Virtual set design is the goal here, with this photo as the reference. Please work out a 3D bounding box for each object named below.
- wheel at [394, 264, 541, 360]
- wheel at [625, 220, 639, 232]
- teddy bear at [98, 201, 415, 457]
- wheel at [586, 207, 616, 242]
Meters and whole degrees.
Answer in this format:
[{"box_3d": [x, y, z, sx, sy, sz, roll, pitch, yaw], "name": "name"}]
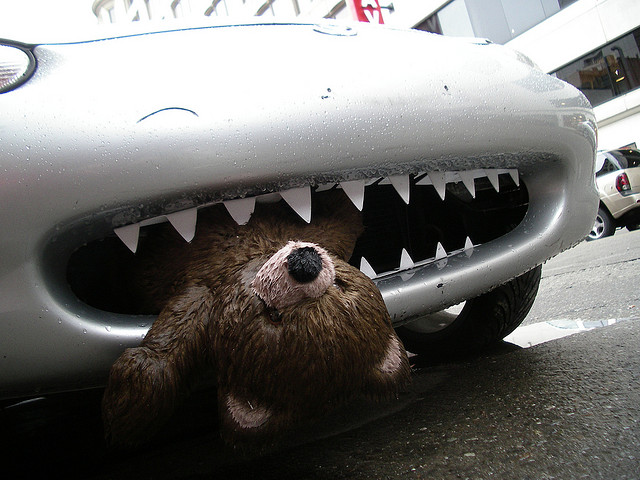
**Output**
[{"box_3d": [0.612, 0.306, 2.128, 0.426, 0.506, 0.460, -6, 4, 0], "name": "wheel"}, {"box_3d": [4.448, -0.207, 7.088, 0.135, 0.204, 0.153, 0, 7, -25], "name": "wheel"}, {"box_3d": [-0.111, 0.087, 1.421, 0.592, 0.438, 1.077, 3, 27, 1], "name": "teddy bear"}, {"box_3d": [3.936, -0.192, 7.180, 0.401, 0.476, 0.148, 1, 3, -3], "name": "wheel"}]
